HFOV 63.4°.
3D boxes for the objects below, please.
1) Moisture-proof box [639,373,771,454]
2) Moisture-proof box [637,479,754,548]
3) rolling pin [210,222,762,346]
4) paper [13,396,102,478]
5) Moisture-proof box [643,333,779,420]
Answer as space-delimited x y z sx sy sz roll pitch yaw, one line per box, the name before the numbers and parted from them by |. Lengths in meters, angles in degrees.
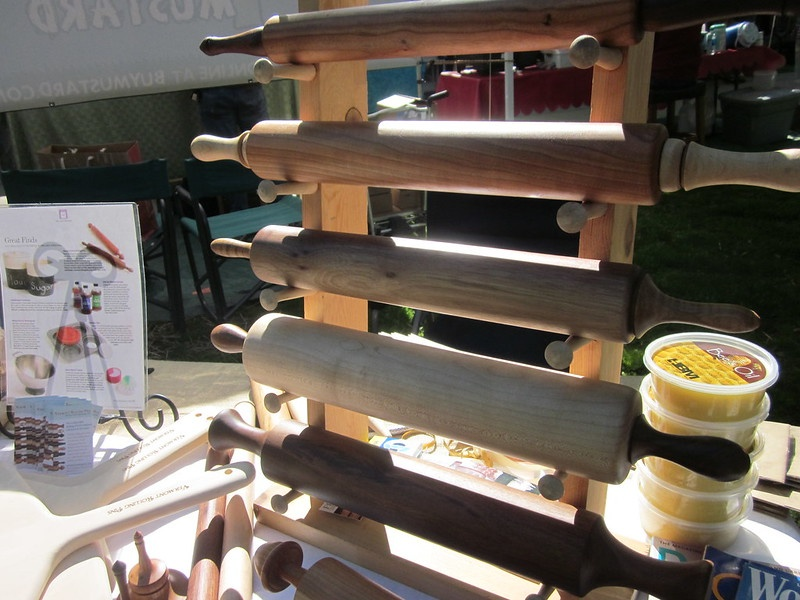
Moisture-proof box | 0.521 0.205 1.119 0.157 0.052 0.167 -18 25 -41
Moisture-proof box | 0.548 0.368 1.214 0.186 0.066 0.184 1 -5 -15
rolling pin | 0.082 -0.032 1.092 0.913 0.118 0.125 9 19 20
paper | -0.716 0.281 1.351 0.182 0.146 0.094 1 1 12
Moisture-proof box | 0.546 0.137 1.150 0.223 0.069 0.217 -17 23 -34
